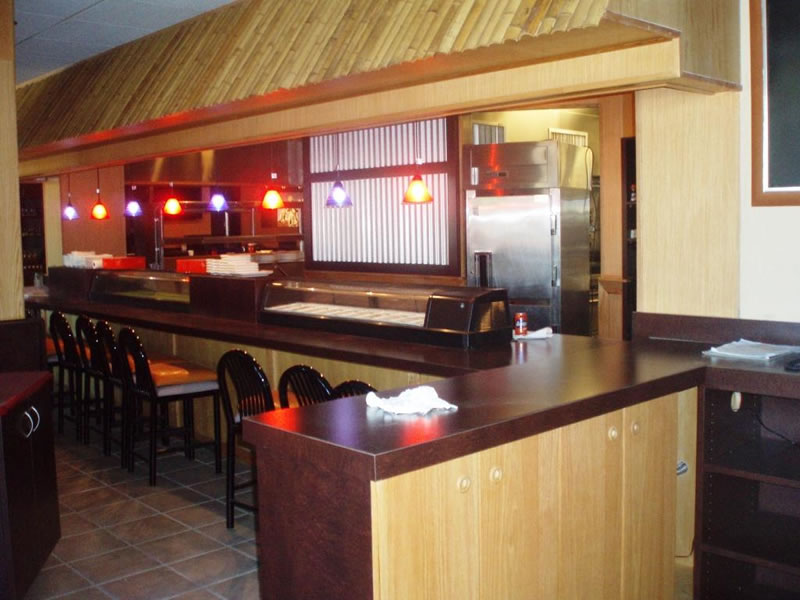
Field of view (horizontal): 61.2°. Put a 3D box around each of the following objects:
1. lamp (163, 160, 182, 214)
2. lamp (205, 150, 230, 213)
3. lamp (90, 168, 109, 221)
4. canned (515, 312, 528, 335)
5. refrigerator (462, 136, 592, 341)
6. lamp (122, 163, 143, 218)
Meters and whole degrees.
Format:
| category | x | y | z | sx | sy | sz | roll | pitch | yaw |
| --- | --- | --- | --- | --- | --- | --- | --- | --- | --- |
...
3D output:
| category | x | y | z | sx | sy | sz | roll | pitch | yaw |
| --- | --- | --- | --- | --- | --- | --- | --- | --- | --- |
| lamp | -3.847 | -1.695 | 11.412 | 0.257 | 0.619 | 2.382 | -4 | 9 | -19 |
| lamp | -3.104 | -2.006 | 11.463 | 0.318 | 1.055 | 2.883 | -4 | 8 | -15 |
| lamp | -4.772 | -1.659 | 10.663 | 0.224 | 0.816 | 1.185 | -5 | 9 | -22 |
| canned | 0.846 | 0.169 | 4.749 | 0.078 | 0.149 | 0.155 | -1 | 8 | 6 |
| refrigerator | 1.432 | -0.638 | 7.504 | 1.430 | 2.157 | 0.725 | -1 | 8 | 6 |
| lamp | -4.094 | -1.512 | 10.367 | 0.250 | 0.457 | 0.234 | 0 | 6 | -5 |
